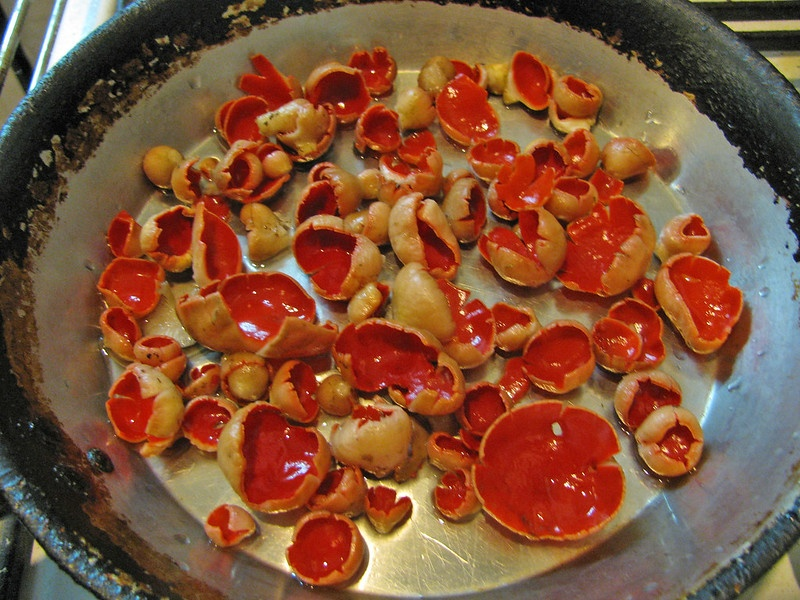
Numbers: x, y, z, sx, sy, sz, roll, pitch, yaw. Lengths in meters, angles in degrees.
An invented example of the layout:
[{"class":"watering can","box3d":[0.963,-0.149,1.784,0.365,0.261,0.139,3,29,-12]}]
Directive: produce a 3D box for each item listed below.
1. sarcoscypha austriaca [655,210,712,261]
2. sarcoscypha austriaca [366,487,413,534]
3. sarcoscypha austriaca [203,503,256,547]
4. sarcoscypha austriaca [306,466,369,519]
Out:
[{"class":"sarcoscypha austriaca","box3d":[0.765,-0.166,2.258,0.129,0.068,0.115,-25,71,13]},{"class":"sarcoscypha austriaca","box3d":[-0.027,0.516,2.029,0.114,0.069,0.110,1,86,-1]},{"class":"sarcoscypha austriaca","box3d":[-0.408,0.542,2.001,0.100,0.062,0.098,-31,81,-12]},{"class":"sarcoscypha austriaca","box3d":[-0.147,0.461,2.019,0.136,0.070,0.120,11,86,0]}]
